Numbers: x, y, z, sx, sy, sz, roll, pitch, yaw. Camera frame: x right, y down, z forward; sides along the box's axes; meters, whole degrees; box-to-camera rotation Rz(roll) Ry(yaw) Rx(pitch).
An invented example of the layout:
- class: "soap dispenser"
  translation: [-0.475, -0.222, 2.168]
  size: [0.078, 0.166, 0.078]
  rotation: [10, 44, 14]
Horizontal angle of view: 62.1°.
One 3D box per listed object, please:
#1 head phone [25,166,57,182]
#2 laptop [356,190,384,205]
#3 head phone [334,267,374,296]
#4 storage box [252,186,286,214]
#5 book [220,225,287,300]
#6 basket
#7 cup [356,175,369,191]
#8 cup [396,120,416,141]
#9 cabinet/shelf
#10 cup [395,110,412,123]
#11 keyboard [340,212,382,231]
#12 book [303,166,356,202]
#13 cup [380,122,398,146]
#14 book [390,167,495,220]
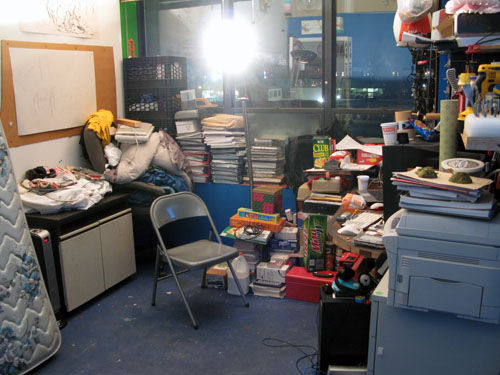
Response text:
- class: "head phone"
  translation: [-1.805, -0.128, 3.607]
  size: [0.227, 0.091, 0.119]
  rotation: [-16, 33, -41]
- class: "laptop"
  translation: [0.960, 0.072, 3.236]
  size: [0.107, 0.035, 0.154]
  rotation: [-2, 20, -5]
- class: "head phone"
  translation: [0.662, 0.620, 2.680]
  size: [0.228, 0.119, 0.174]
  rotation: [4, 9, 4]
- class: "storage box"
  translation: [0.179, 0.114, 4.100]
  size: [0.270, 0.263, 0.275]
  rotation: [4, 10, 24]
- class: "book"
  translation: [0.089, 0.716, 3.892]
  size: [0.210, 0.681, 0.503]
  rotation: [1, 2, 28]
- class: "basket"
  translation: [-1.139, -1.101, 5.034]
  size: [0.839, 1.143, 0.787]
  rotation: [-1, 10, -6]
- class: "cup"
  translation: [0.929, -0.040, 3.419]
  size: [0.119, 0.118, 0.111]
  rotation: [0, 13, 0]
- class: "cup"
  translation: [1.085, -0.410, 2.887]
  size: [0.138, 0.136, 0.138]
  rotation: [-2, 16, 1]
- class: "cabinet/shelf"
  translation: [-1.422, 0.542, 3.406]
  size: [0.437, 0.784, 0.852]
  rotation: [0, 19, 21]
- class: "cup"
  translation: [1.084, -0.500, 2.957]
  size: [0.116, 0.071, 0.116]
  rotation: [-3, 8, 0]
- class: "keyboard"
  translation: [0.763, 0.221, 2.809]
  size: [0.095, 0.027, 0.266]
  rotation: [5, 16, 28]
- class: "book"
  translation: [0.696, -0.071, 3.620]
  size: [0.326, 0.199, 0.323]
  rotation: [2, 9, 15]
- class: "cup"
  translation: [0.946, -0.374, 2.878]
  size: [0.147, 0.157, 0.150]
  rotation: [-4, 9, 1]
- class: "book"
  translation: [1.014, 0.034, 2.114]
  size: [0.323, 0.120, 0.345]
  rotation: [4, 12, 21]
